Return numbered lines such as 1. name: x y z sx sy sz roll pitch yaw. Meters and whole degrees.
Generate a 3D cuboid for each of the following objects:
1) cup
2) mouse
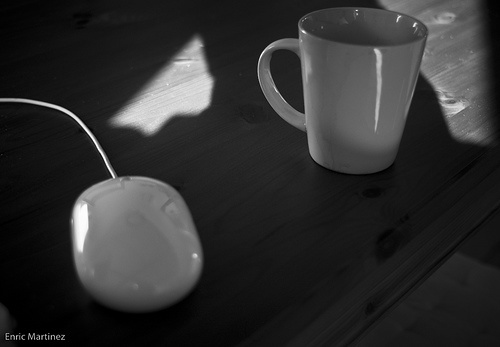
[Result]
1. cup: 0.107 -0.100 0.468 0.163 0.137 0.164 -4 50 5
2. mouse: -0.107 0.053 0.383 0.107 0.035 0.154 3 38 -17
